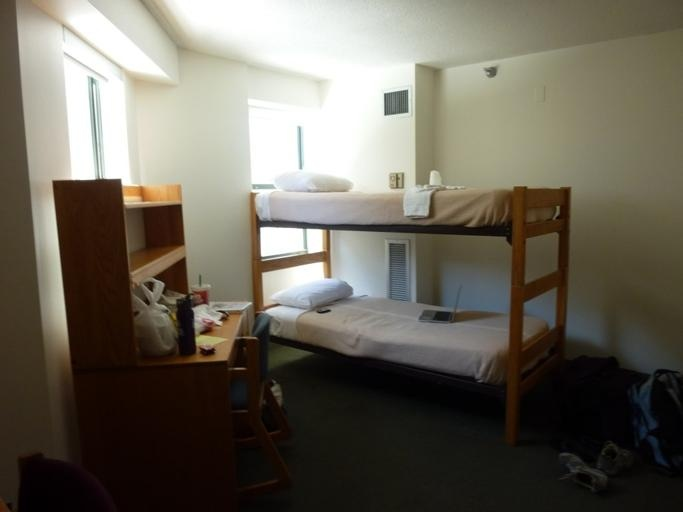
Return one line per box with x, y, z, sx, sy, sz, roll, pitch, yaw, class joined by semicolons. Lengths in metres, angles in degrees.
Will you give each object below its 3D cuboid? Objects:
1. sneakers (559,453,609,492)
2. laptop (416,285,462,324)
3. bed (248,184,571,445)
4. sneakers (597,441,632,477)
1.494;1.338;3.238;0.185;0.078;0.189;12;21;42;sneakers
0.817;0.355;4.414;0.263;0.214;0.357;2;8;16;laptop
0.373;0.281;4.565;2.817;1.742;0.968;3;8;34;bed
1.715;1.292;3.310;0.139;0.102;0.231;22;24;38;sneakers
